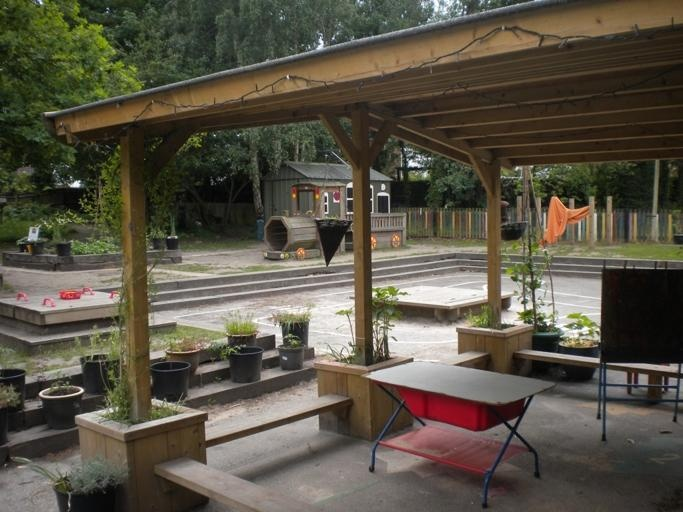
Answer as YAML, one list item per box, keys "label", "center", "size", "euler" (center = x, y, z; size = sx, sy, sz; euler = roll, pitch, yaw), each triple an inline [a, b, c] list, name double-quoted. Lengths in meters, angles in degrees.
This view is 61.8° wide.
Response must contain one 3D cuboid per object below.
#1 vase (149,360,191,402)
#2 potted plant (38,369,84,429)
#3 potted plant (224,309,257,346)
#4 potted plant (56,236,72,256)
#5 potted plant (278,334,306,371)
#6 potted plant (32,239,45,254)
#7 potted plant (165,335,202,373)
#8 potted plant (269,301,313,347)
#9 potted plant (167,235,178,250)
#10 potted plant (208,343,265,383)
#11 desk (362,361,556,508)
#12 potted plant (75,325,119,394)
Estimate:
- label: "vase"
  center: [-1.933, 1.396, 6.607]
  size: [0.555, 0.425, 0.574]
  euler: [0, 2, -2]
- label: "potted plant"
  center: [-2.877, 1.553, 5.878]
  size: [0.404, 0.332, 0.418]
  euler: [-4, 1, -39]
- label: "potted plant"
  center: [-1.498, 1.071, 8.428]
  size: [0.462, 0.558, 0.452]
  euler: [0, -1, -28]
- label: "potted plant"
  center: [-7.336, -0.218, 15.030]
  size: [0.440, 0.325, 0.437]
  euler: [-1, -2, -17]
- label: "potted plant"
  center: [-0.698, 1.307, 7.838]
  size: [0.404, 0.459, 0.405]
  euler: [-2, 0, -13]
- label: "potted plant"
  center: [-8.431, -0.246, 15.870]
  size: [0.344, 0.297, 0.326]
  euler: [0, -6, -6]
- label: "potted plant"
  center: [-1.918, 1.273, 7.107]
  size: [0.323, 0.243, 0.323]
  euler: [13, -20, -13]
- label: "potted plant"
  center: [-0.713, 1.031, 8.723]
  size: [0.808, 0.902, 0.690]
  euler: [-1, -3, -2]
- label: "potted plant"
  center: [-5.381, -0.401, 18.093]
  size: [0.431, 0.434, 0.468]
  euler: [-2, -3, 34]
- label: "potted plant"
  center: [-1.381, 1.384, 7.337]
  size: [0.747, 0.439, 0.448]
  euler: [0, 2, -10]
- label: "desk"
  center: [1.051, 1.046, 4.932]
  size: [0.983, 0.893, 1.665]
  euler: [-12, 13, -42]
- label: "potted plant"
  center: [-2.745, 1.182, 6.473]
  size: [0.279, 0.445, 0.338]
  euler: [5, 1, 22]
